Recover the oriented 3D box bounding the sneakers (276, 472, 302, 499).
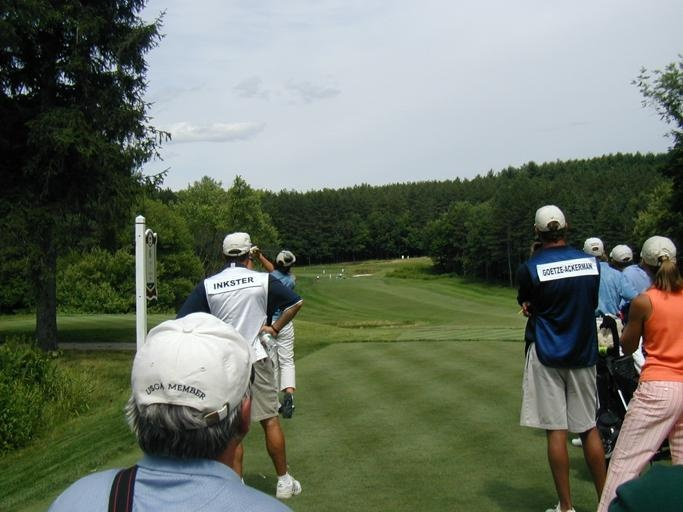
[{"bbox_3d":[-0.527,2.405,6.406,0.138,0.215,0.324,-3,-3,17],"label":"sneakers"}]

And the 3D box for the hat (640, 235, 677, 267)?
[{"bbox_3d":[3.132,-0.039,5.950,0.254,0.231,0.391,-2,15,15],"label":"hat"}]

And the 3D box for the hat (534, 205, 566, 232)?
[{"bbox_3d":[2.159,-0.413,6.321,0.232,0.189,0.338,-1,15,13],"label":"hat"}]

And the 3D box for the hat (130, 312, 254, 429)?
[{"bbox_3d":[-0.860,0.636,3.619,0.636,0.558,0.917,2,10,7],"label":"hat"}]

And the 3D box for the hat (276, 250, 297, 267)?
[{"bbox_3d":[-0.799,0.046,9.045,0.273,0.217,0.153,11,2,-21],"label":"hat"}]

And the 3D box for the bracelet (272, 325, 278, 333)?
[{"bbox_3d":[-0.717,0.800,6.602,0.025,0.076,0.055,-15,20,-1],"label":"bracelet"}]
